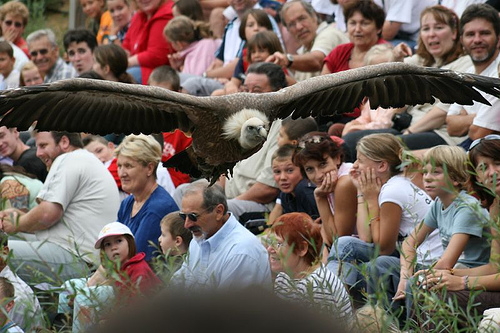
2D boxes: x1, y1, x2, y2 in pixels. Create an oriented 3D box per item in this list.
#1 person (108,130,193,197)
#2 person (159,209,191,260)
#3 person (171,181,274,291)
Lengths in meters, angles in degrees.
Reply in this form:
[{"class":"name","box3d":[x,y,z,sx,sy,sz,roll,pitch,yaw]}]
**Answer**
[{"class":"person","box3d":[-1.292,-0.081,15.934,1.157,0.992,0.514,-11,13,-36]},{"class":"person","box3d":[-0.945,0.904,13.861,0.526,0.720,0.419,1,17,-7]},{"class":"person","box3d":[-0.389,0.878,12.712,1.142,1.234,1.601,-3,-4,-30]}]
